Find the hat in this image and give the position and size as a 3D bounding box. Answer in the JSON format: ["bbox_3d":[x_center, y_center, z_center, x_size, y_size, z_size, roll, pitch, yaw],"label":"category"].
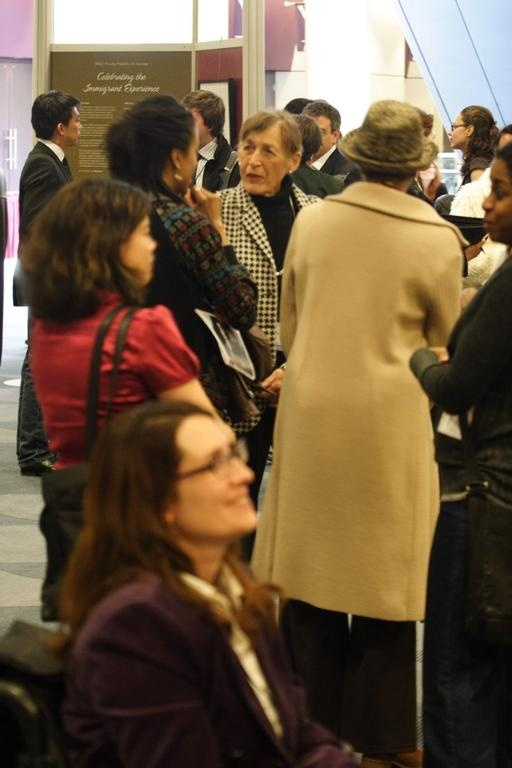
[{"bbox_3d":[0.390,-0.696,1.894,0.232,0.126,0.237,10,27,9],"label":"hat"}]
